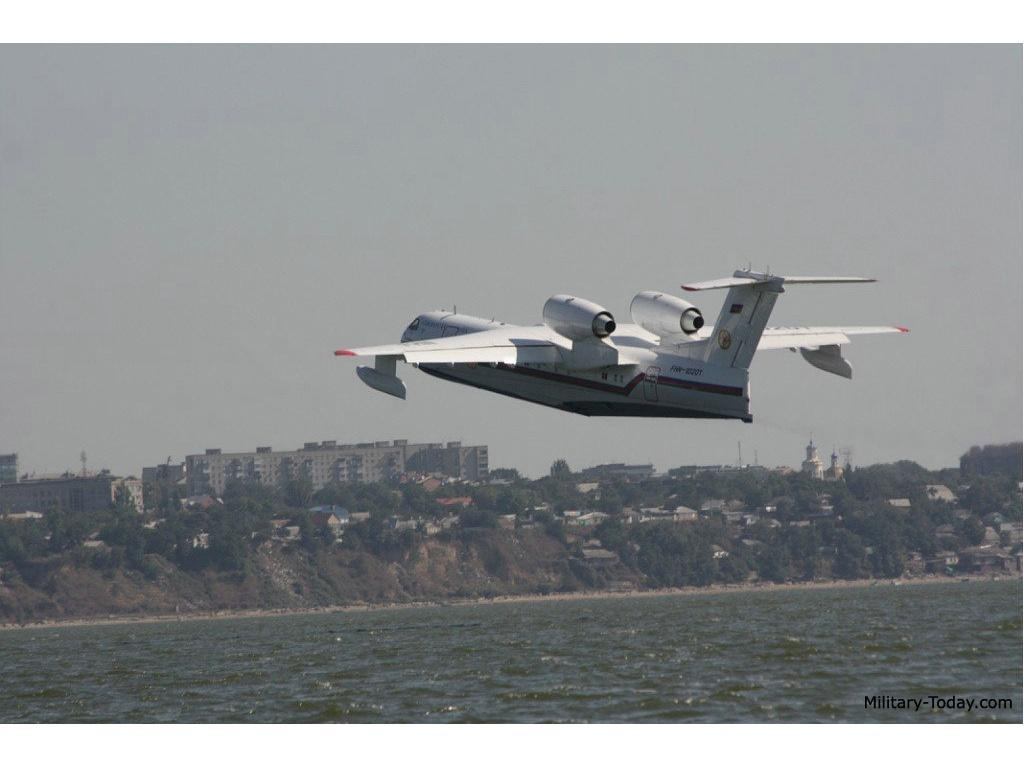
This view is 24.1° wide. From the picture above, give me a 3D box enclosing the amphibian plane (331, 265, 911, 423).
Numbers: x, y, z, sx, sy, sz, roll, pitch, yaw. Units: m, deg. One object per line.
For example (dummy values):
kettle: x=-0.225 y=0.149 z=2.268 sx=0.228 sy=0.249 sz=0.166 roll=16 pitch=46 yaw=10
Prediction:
amphibian plane: x=5.550 y=-2.108 z=160.798 sx=18.553 sy=18.816 sz=5.983 roll=7 pitch=-83 yaw=27
